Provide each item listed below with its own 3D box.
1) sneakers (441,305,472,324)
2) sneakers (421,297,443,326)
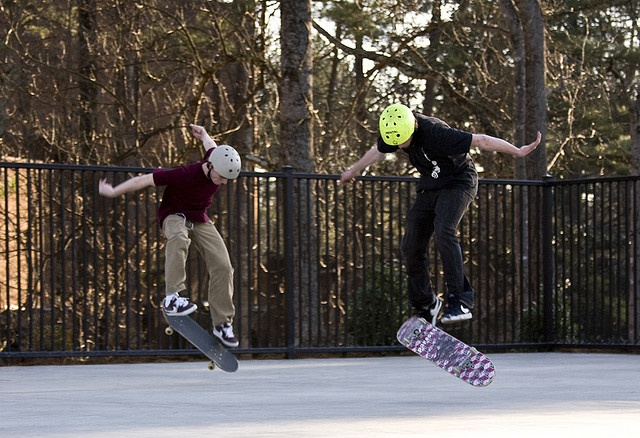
[{"bbox_3d":[1.963,1.379,18.880,0.468,0.288,0.219,0,-3,-11],"label":"sneakers"},{"bbox_3d":[1.648,1.354,19.166,0.182,0.562,0.238,28,25,36],"label":"sneakers"}]
